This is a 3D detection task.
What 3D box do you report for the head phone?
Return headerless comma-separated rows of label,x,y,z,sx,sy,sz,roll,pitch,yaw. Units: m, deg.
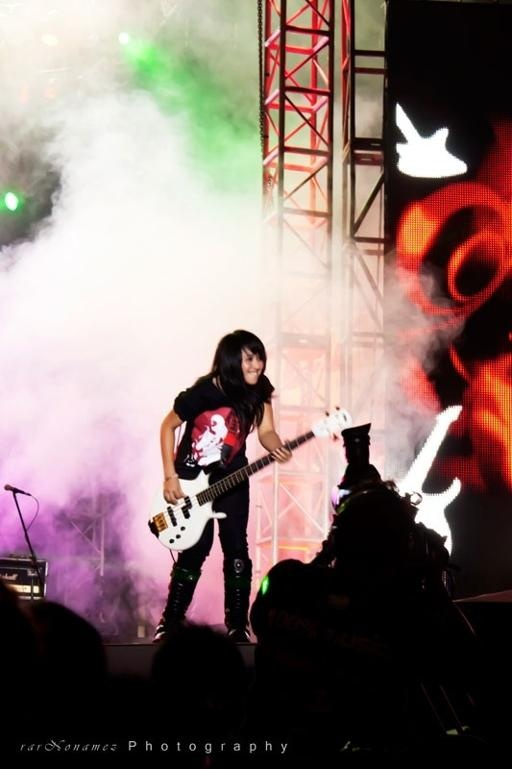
head phone,0.389,0.481,3.034,0.211,0.228,0.260,11,-8,-10
